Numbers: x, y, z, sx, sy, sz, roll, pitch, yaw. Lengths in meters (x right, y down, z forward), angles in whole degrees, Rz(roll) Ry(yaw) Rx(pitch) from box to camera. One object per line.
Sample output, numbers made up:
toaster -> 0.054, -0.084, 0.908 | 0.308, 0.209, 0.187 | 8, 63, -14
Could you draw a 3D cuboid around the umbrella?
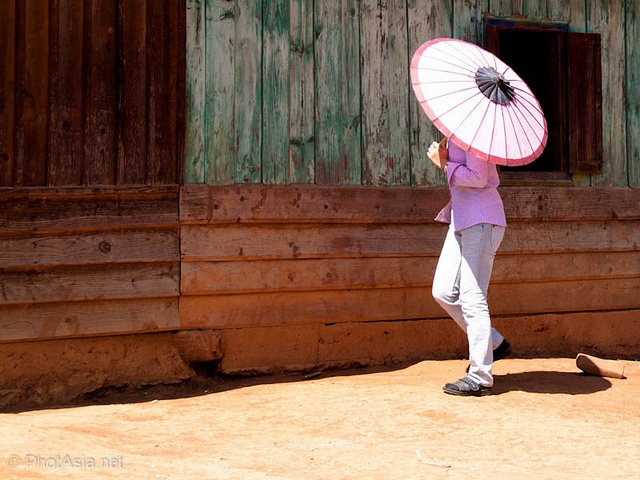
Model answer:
umbrella -> 1.117, -1.038, 5.685 | 1.013, 1.006, 0.327 | 3, -36, -32
